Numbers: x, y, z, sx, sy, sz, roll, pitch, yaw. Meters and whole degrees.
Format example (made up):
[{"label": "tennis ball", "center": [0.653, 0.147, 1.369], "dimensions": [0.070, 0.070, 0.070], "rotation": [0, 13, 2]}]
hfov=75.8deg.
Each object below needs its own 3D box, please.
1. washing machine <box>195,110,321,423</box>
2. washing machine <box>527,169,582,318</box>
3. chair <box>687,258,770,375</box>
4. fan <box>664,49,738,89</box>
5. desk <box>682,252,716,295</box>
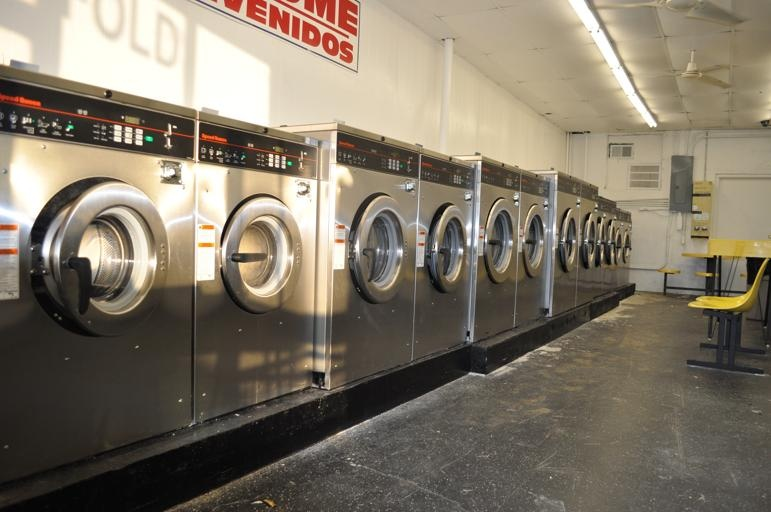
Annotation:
[{"label": "washing machine", "center": [-1.003, -0.047, 3.398], "dimensions": [0.883, 1.749, 0.797], "rotation": [-2, 9, -42]}, {"label": "washing machine", "center": [2.183, -0.206, 6.890], "dimensions": [1.100, 1.855, 0.890], "rotation": [-2, 5, -39]}, {"label": "chair", "center": [3.713, 0.632, 5.382], "dimensions": [0.695, 1.104, 0.861], "rotation": [5, 7, 34]}, {"label": "fan", "center": [4.442, -2.668, 6.958], "dimensions": [0.551, 0.253, 0.653], "rotation": [-2, -1, 10]}, {"label": "desk", "center": [5.925, 0.352, 9.183], "dimensions": [0.675, 0.568, 0.667], "rotation": [4, 15, 10]}]
